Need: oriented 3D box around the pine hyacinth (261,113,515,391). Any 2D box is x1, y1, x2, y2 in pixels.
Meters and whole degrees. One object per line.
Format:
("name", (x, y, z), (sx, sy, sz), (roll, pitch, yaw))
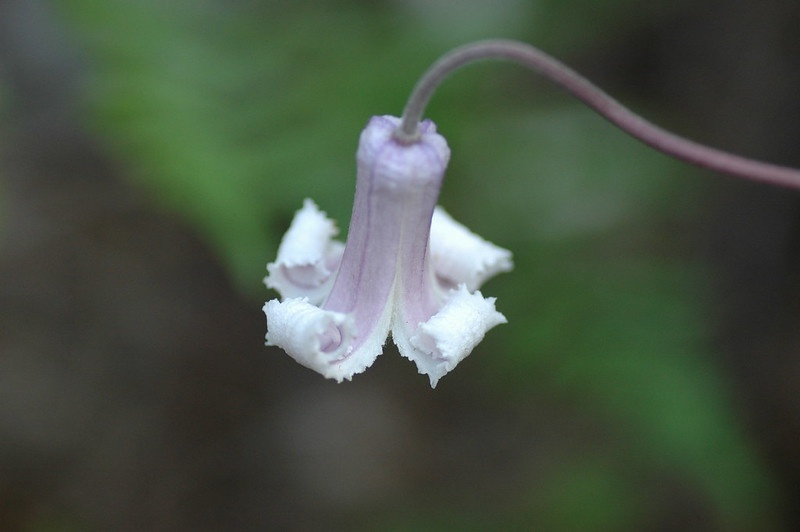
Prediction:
("pine hyacinth", (0.021, -0.014, 1.486), (0.446, 0.429, 0.439), (4, -13, 2))
